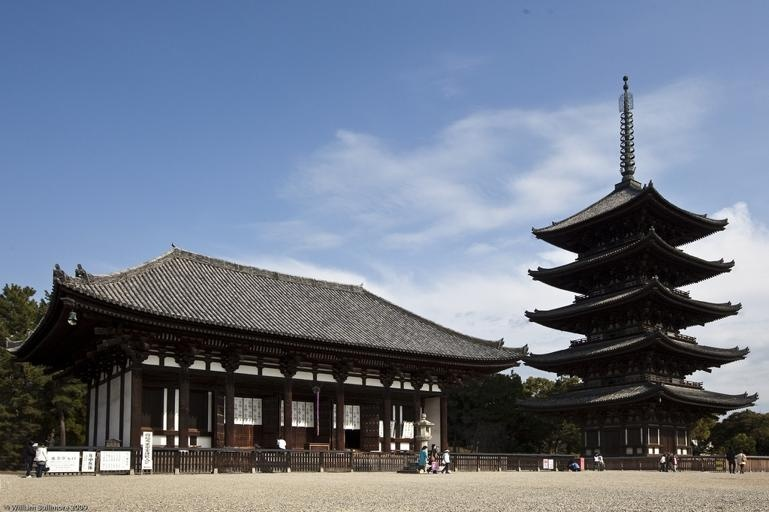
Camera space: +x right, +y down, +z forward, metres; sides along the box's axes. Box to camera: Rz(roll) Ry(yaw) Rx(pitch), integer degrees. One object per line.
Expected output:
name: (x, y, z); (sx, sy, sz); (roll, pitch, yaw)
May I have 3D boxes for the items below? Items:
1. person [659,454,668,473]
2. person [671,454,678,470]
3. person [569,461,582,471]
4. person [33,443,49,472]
person: (19.031, 14.212, 69.172); (0.853, 0.973, 0.861); (-2, -13, 20)
person: (19.935, 14.259, 69.764); (0.434, 1.264, 1.447); (-6, -22, 15)
person: (12.447, 13.871, 66.658); (0.642, 0.256, 0.766); (6, -3, -15)
person: (-17.584, 10.584, 52.149); (0.696, 1.564, 1.133); (7, -23, -17)
